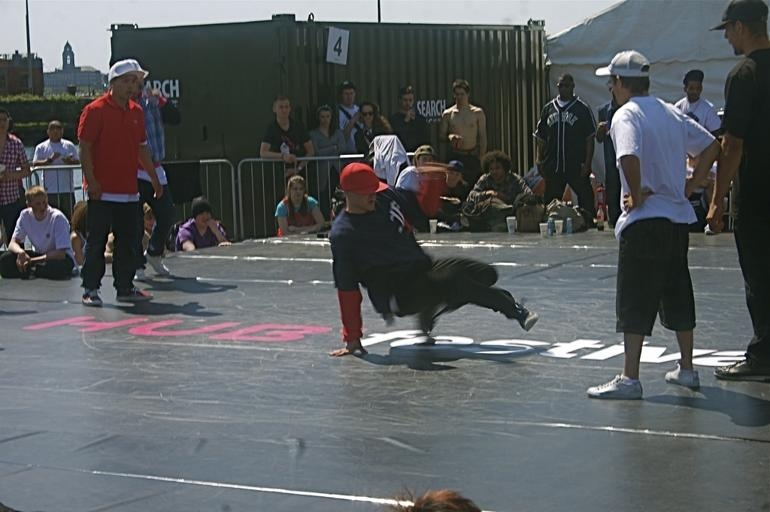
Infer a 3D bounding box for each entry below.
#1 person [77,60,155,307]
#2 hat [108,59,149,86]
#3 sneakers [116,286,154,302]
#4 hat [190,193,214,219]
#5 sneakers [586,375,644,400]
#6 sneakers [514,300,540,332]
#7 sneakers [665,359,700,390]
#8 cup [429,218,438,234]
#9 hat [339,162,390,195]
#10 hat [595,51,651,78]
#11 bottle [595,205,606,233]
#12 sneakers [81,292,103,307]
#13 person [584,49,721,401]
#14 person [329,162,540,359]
[{"bbox_3d":[-2.803,-0.752,11.222,0.831,2.496,0.393,-8,14,-27],"label":"person"},{"bbox_3d":[-2.622,-1.885,11.066,0.378,0.225,0.370,-5,13,-15],"label":"hat"},{"bbox_3d":[-2.649,0.415,11.547,0.368,0.150,0.153,-6,14,-32],"label":"sneakers"},{"bbox_3d":[-2.501,-0.669,14.811,0.248,0.333,0.510,-4,13,-10],"label":"hat"},{"bbox_3d":[1.670,0.961,7.977,0.409,0.177,0.160,2,2,12],"label":"sneakers"},{"bbox_3d":[1.151,0.492,8.973,0.158,0.290,0.237,-1,13,4],"label":"sneakers"},{"bbox_3d":[2.211,0.882,8.194,0.116,0.196,0.323,-8,15,-37],"label":"sneakers"},{"bbox_3d":[0.742,-0.462,16.583,0.183,0.283,0.184,1,14,0],"label":"cup"},{"bbox_3d":[-0.191,-0.651,8.981,0.463,0.257,0.355,3,12,30],"label":"hat"},{"bbox_3d":[1.726,-1.408,8.019,0.388,0.164,0.273,5,21,27],"label":"hat"},{"bbox_3d":[3.357,-0.576,17.110,0.170,0.397,0.589,1,15,10],"label":"bottle"},{"bbox_3d":[-3.012,0.438,11.234,0.098,0.110,0.261,-4,12,-34],"label":"sneakers"},{"bbox_3d":[1.930,-0.078,7.931,1.019,2.127,0.511,-7,14,-23],"label":"person"},{"bbox_3d":[0.356,-0.072,9.198,2.070,1.570,0.760,-5,16,20],"label":"person"}]
